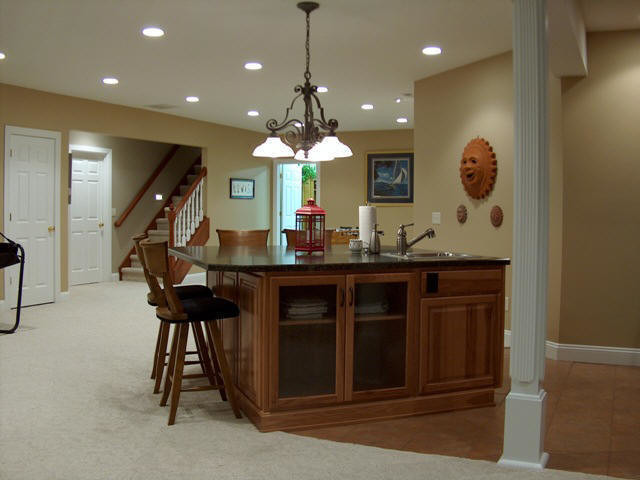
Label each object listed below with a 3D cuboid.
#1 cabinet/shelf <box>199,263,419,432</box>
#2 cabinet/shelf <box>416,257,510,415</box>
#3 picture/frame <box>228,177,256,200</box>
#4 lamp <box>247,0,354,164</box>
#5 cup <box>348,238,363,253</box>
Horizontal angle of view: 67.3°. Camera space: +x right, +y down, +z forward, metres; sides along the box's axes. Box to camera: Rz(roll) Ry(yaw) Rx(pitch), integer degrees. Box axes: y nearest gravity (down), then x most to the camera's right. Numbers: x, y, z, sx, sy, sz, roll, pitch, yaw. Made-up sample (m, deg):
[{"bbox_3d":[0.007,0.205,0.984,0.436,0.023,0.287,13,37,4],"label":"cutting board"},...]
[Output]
[{"bbox_3d":[0.218,1.014,3.833,1.449,1.077,1.677,-6,-26,10],"label":"cabinet/shelf"},{"bbox_3d":[1.002,0.570,3.686,0.705,1.103,0.781,-7,13,-10],"label":"cabinet/shelf"},{"bbox_3d":[-1.581,-1.037,9.781,0.127,0.438,0.709,3,5,27],"label":"picture/frame"},{"bbox_3d":[-0.213,-1.773,5.292,1.292,2.142,1.285,1,-3,-9],"label":"lamp"},{"bbox_3d":[0.277,0.048,3.715,0.102,0.096,0.149,1,4,4],"label":"cup"}]
